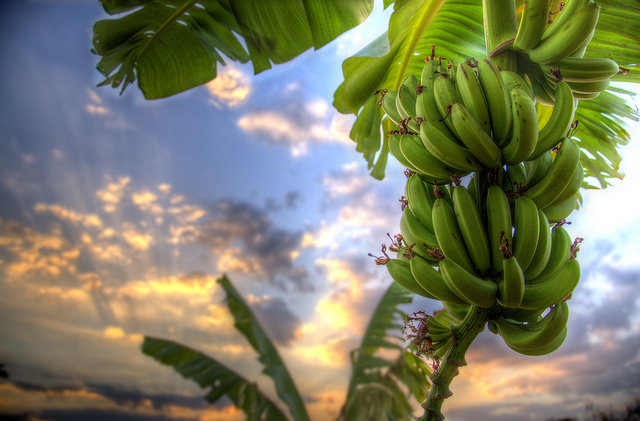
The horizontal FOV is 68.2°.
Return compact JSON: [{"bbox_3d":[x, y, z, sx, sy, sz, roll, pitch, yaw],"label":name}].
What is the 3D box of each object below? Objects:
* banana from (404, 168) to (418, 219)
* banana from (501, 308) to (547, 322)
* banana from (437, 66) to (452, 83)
[{"bbox_3d":[1.204,-0.276,6.399,0.202,0.535,0.126,-1,2,43],"label":"banana"},{"bbox_3d":[2.599,1.360,6.141,0.383,0.107,0.242,0,-52,0],"label":"banana"},{"bbox_3d":[1.627,-1.839,6.379,0.111,0.310,0.094,-5,-34,-39],"label":"banana"}]
